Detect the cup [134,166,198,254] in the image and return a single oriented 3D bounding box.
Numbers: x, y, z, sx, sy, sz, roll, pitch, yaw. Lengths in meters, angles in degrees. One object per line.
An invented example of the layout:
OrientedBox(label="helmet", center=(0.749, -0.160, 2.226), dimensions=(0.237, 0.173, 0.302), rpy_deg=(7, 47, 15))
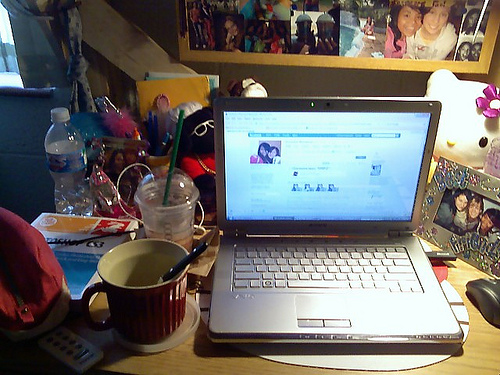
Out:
OrientedBox(label="cup", center=(-0.205, 0.058, 0.967), dimensions=(0.171, 0.226, 0.166), rpy_deg=(2, 24, -1))

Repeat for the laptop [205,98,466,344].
OrientedBox(label="laptop", center=(0.162, 0.053, 0.775), dimensions=(0.511, 0.346, 0.402), rpy_deg=(3, 28, 8))

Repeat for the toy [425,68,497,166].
OrientedBox(label="toy", center=(0.536, -0.195, 1.113), dimensions=(0.216, 0.241, 0.252), rpy_deg=(7, 29, 11))

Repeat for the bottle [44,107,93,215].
OrientedBox(label="bottle", center=(-0.560, -0.053, 1.182), dimensions=(0.119, 0.424, 0.118), rpy_deg=(8, 41, -7))

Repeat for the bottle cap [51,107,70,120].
OrientedBox(label="bottle cap", center=(-0.524, -0.211, 1.062), dimensions=(0.036, 0.022, 0.037), rpy_deg=(1, 24, -6))

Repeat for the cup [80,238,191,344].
OrientedBox(label="cup", center=(-0.209, 0.201, 0.806), dimensions=(0.225, 0.156, 0.176), rpy_deg=(-15, 37, -27))
